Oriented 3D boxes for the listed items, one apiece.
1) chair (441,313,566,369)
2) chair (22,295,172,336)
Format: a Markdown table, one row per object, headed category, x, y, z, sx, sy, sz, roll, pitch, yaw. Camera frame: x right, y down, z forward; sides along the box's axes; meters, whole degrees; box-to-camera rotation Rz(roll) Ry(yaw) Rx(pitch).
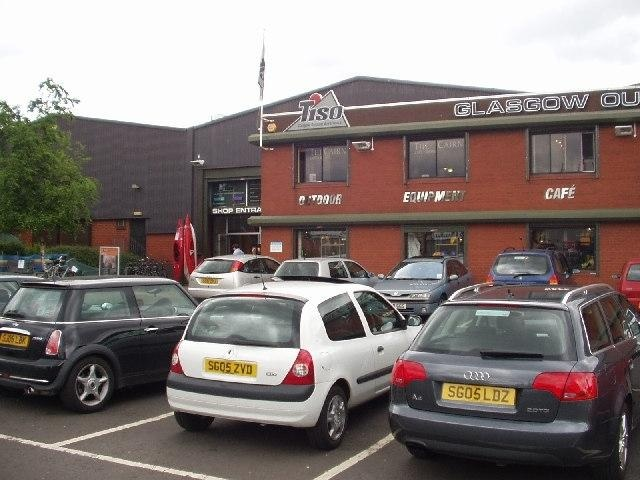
| category | x | y | z | sx | sy | sz | roll | pitch | yaw |
| --- | --- | --- | --- | --- | --- | --- | --- | --- | --- |
| chair | 1.839 | 0.892 | 5.298 | 1.116 | 0.367 | 0.471 | -1 | 8 | 24 |
| chair | -3.323 | 1.097 | 7.938 | 0.594 | 0.539 | 1.066 | -3 | -6 | 42 |
